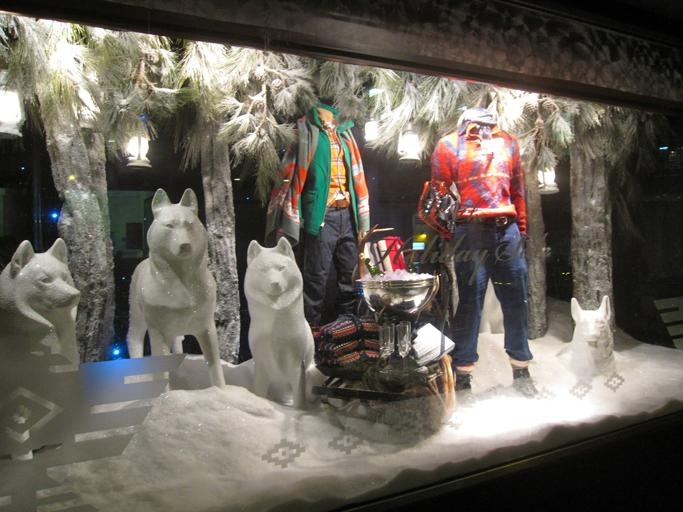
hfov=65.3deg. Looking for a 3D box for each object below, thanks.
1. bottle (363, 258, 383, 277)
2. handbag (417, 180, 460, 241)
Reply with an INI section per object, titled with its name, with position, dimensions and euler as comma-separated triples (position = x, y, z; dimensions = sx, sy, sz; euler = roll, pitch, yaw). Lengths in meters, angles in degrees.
[bottle]
position = 0.156, 0.056, 2.526
dimensions = 0.078, 0.080, 0.021
euler = -5, -3, -34
[handbag]
position = 0.476, -0.227, 2.668
dimensions = 0.208, 0.279, 0.087
euler = 5, 4, -23
